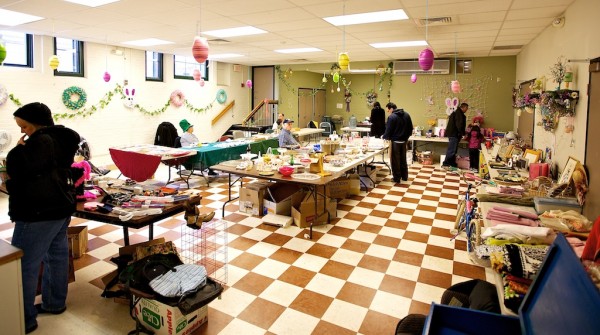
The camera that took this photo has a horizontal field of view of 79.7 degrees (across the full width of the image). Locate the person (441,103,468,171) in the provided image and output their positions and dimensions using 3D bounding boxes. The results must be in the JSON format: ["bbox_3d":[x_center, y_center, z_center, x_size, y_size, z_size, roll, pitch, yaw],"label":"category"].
[{"bbox_3d":[5.050,-1.069,11.632,0.617,2.053,0.663,6,15,20],"label":"person"}]

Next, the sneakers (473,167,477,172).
[{"bbox_3d":[5.533,0.071,11.323,0.088,0.085,0.228,-4,-4,27],"label":"sneakers"}]

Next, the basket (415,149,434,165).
[{"bbox_3d":[4.348,-0.325,12.412,0.515,0.379,0.558,0,-2,6],"label":"basket"}]

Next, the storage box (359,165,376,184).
[{"bbox_3d":[1.818,0.182,9.657,0.504,0.541,0.829,2,6,23],"label":"storage box"}]

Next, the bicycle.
[{"bbox_3d":[3.027,0.731,6.488,0.416,1.365,2.861,7,14,25],"label":"bicycle"}]

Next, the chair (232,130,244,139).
[{"bbox_3d":[-1.992,-1.081,11.621,0.293,0.356,0.333,-6,8,-40],"label":"chair"}]

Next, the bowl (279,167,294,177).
[{"bbox_3d":[-0.243,0.067,6.981,0.238,0.085,0.225,1,2,0],"label":"bowl"}]

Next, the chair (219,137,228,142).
[{"bbox_3d":[-2.308,-0.907,11.070,0.243,0.253,0.250,-1,2,4],"label":"chair"}]

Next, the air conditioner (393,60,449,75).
[{"bbox_3d":[4.290,-3.583,12.704,1.946,0.508,0.345,6,14,22],"label":"air conditioner"}]

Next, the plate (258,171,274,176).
[{"bbox_3d":[-0.635,0.101,7.087,0.289,0.058,0.156,-1,13,-8],"label":"plate"}]

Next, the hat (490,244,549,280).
[{"bbox_3d":[2.551,1.066,4.138,0.532,0.173,0.500,9,41,28],"label":"hat"}]

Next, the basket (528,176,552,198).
[{"bbox_3d":[4.063,0.331,6.035,0.425,0.349,0.437,0,3,35],"label":"basket"}]

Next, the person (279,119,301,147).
[{"bbox_3d":[-0.288,-0.998,10.470,0.765,0.870,1.012,5,13,10],"label":"person"}]

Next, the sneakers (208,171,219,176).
[{"bbox_3d":[-2.445,0.152,10.201,0.327,0.116,0.123,1,4,-24],"label":"sneakers"}]

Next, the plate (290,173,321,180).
[{"bbox_3d":[0.128,0.160,6.947,0.564,0.030,0.428,8,14,31],"label":"plate"}]

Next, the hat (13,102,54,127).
[{"bbox_3d":[-3.733,-0.746,5.052,0.472,0.262,0.345,-1,12,-34],"label":"hat"}]

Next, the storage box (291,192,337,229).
[{"bbox_3d":[0.283,0.814,7.395,0.577,0.659,0.869,11,16,36],"label":"storage box"}]
